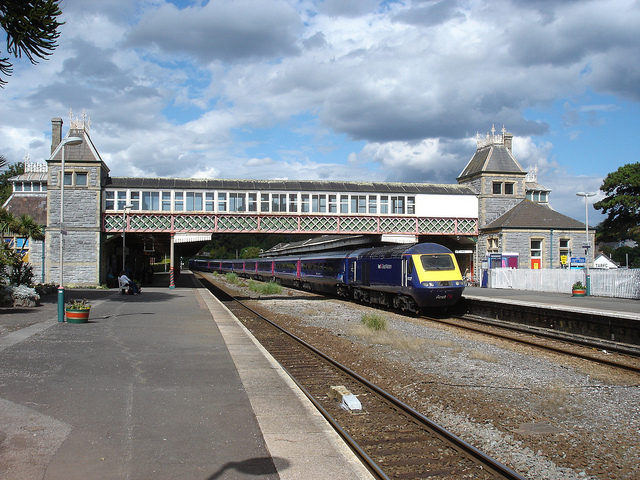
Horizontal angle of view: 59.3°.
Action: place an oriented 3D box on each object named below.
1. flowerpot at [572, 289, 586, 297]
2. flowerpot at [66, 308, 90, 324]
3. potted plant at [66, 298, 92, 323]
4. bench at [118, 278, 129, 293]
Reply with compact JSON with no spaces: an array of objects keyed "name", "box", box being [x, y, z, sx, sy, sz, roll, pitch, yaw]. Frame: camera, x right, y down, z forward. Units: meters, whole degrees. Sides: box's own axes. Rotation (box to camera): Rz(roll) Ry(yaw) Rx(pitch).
[{"name":"flowerpot","box":[14.921,3.022,32.130,0.519,0.293,0.473,3,-6,-20]},{"name":"flowerpot","box":[-8.566,2.663,19.817,0.570,0.311,0.550,1,-8,2]},{"name":"potted plant","box":[-8.665,2.548,20.091,0.763,0.795,0.843,1,3,-26]},{"name":"bench","box":[-12.087,2.732,34.504,0.787,0.756,0.469,4,3,28]}]
